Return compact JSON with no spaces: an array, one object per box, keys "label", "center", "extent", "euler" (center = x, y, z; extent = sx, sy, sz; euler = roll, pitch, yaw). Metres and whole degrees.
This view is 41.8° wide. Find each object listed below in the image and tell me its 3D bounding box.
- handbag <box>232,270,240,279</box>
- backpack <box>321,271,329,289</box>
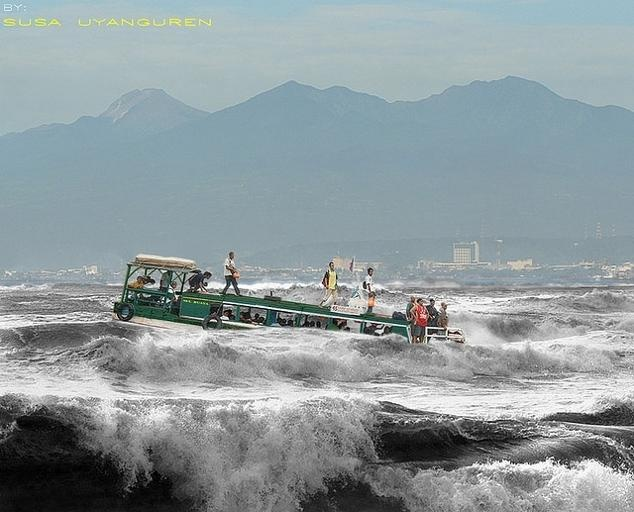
[{"label":"handbag","center":[-2.883,0.680,29.701],"extent":[0.290,0.169,0.399],"euler":[5,-3,-7]},{"label":"backpack","center":[0.324,0.856,28.919],"extent":[0.206,0.462,0.329],"euler":[1,-6,3]}]
